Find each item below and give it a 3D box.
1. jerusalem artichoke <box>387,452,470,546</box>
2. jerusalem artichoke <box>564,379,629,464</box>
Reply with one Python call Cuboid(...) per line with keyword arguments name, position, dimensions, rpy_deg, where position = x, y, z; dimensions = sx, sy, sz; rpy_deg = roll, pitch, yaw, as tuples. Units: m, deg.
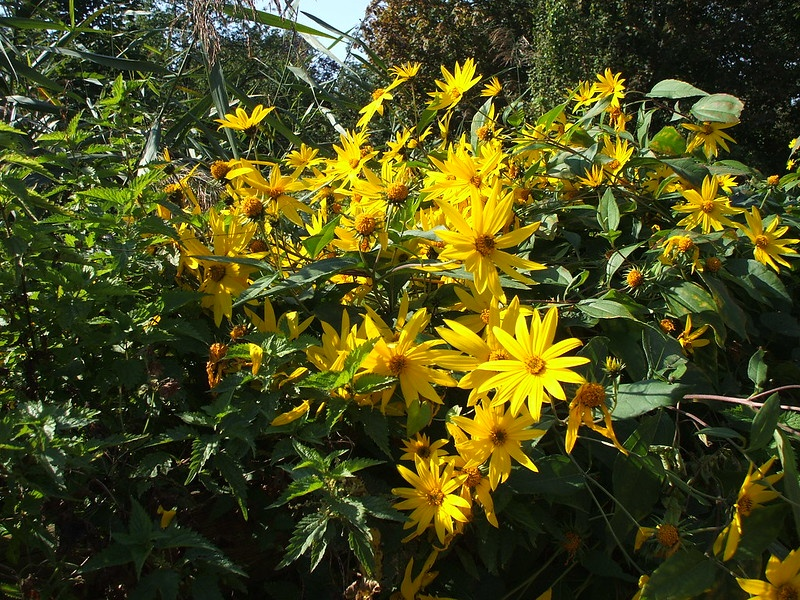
Cuboid(name="jerusalem artichoke", position=(0.067, 0.370, 1.125), dimensions=(0.153, 0.034, 0.160), rpy_deg=(-14, 11, 30))
Cuboid(name="jerusalem artichoke", position=(0.342, 0.223, 1.096), dimensions=(0.157, 0.145, 0.059), rpy_deg=(5, -16, -13))
